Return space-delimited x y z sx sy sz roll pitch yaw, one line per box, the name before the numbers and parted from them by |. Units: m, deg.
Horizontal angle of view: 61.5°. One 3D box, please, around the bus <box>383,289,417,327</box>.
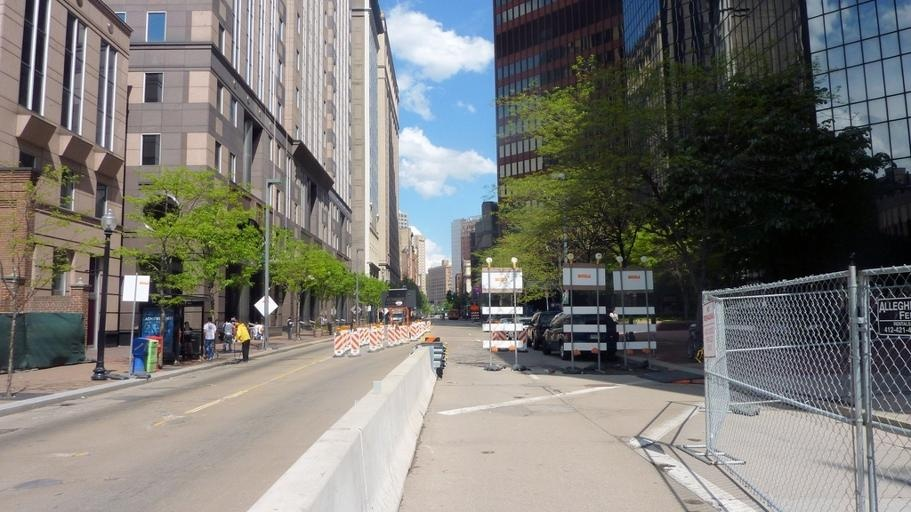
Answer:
bus | -6.537 5.315 80.483 3.244 3.693 3.886 -1 -12 4
